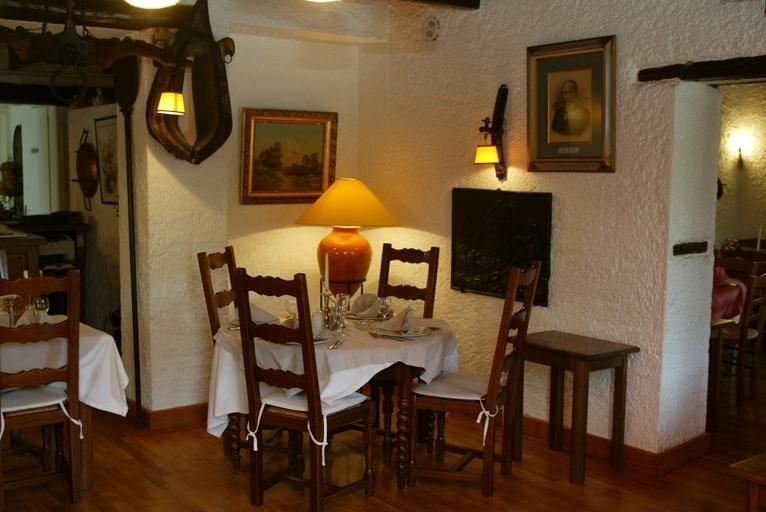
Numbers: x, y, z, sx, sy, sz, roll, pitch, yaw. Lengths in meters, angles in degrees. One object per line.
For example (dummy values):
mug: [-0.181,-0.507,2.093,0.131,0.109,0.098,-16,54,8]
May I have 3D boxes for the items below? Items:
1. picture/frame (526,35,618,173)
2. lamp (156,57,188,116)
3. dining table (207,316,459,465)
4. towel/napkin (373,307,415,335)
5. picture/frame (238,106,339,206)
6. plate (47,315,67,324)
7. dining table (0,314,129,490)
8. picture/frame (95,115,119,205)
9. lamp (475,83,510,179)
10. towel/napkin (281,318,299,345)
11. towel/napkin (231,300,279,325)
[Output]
picture/frame: [1.400,-1.121,4.675,0.741,0.957,0.101,10,11,41]
lamp: [-1.624,-1.269,4.793,0.205,0.370,0.391,0,8,-17]
dining table: [-0.436,0.702,4.065,0.991,0.493,0.991,3,5,40]
towel/napkin: [0.096,0.446,4.245,0.221,0.116,0.167,-2,1,12]
picture/frame: [-0.900,-0.915,5.710,1.008,0.907,0.076,-3,10,-35]
plate: [-2.228,0.438,4.274,0.096,0.065,0.095,3,0,-29]
dining table: [-2.123,0.912,4.450,1.013,0.958,1.048,0,3,-40]
picture/frame: [-3.104,-1.110,7.052,0.058,1.195,1.059,-1,7,-38]
lamp: [0.862,-1.002,5.066,0.286,0.772,0.254,9,11,35]
towel/napkin: [-0.582,0.481,3.973,0.148,0.189,0.162,0,-3,-2]
towel/napkin: [-0.904,0.396,4.364,0.283,0.107,0.274,1,-1,1]
